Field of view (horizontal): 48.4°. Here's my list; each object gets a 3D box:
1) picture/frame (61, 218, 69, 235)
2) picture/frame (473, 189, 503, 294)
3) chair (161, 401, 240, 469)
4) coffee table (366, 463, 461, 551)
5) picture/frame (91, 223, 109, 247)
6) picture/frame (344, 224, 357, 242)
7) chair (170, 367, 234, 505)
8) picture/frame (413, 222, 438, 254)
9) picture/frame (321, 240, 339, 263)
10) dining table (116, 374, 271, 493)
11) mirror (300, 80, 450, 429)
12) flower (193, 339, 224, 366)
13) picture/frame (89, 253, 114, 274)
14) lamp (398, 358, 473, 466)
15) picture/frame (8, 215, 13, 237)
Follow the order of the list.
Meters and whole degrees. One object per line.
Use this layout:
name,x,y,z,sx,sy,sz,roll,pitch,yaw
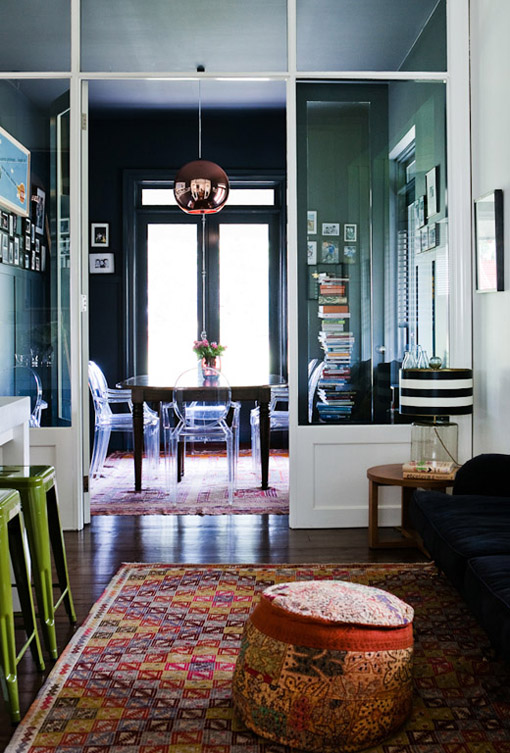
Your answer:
picture/frame,-1.116,-0.885,3.336,0.037,0.086,0.078,1,-5,-3
picture/frame,1.267,-0.713,3.095,0.090,0.552,0.408,-1,-2,12
chair,-0.514,0.527,4.504,0.562,0.628,0.763,-1,-8,-20
coffee table,0.838,0.689,2.975,0.463,0.426,0.490,-5,2,34
picture/frame,-1.718,-1.577,6.278,0.209,0.348,0.020,0,0,-8
picture/frame,0.566,-0.853,3.361,0.082,0.145,0.005,0,0,-1
chair,-0.390,0.407,4.124,0.407,0.904,0.503,5,-5,-18
picture/frame,1.017,-0.825,3.368,0.149,0.177,0.056,0,-1,2
picture/frame,0.446,-0.736,3.357,0.104,0.170,0.012,0,-2,-4
dining table,-0.438,0.311,4.513,0.838,0.822,1.038,0,3,1
mirror,0.675,-0.674,3.352,0.921,2.538,0.037,1,-15,10
flower,-0.387,-0.199,4.749,0.206,0.215,0.218,-6,10,-26
picture/frame,-1.698,-1.253,6.267,0.284,0.312,0.034,0,-4,-7
lamp,0.908,0.209,2.906,0.432,0.601,0.445,-6,-4,42
picture/frame,-1.378,-0.859,3.215,0.044,0.127,0.021,1,-3,-34
